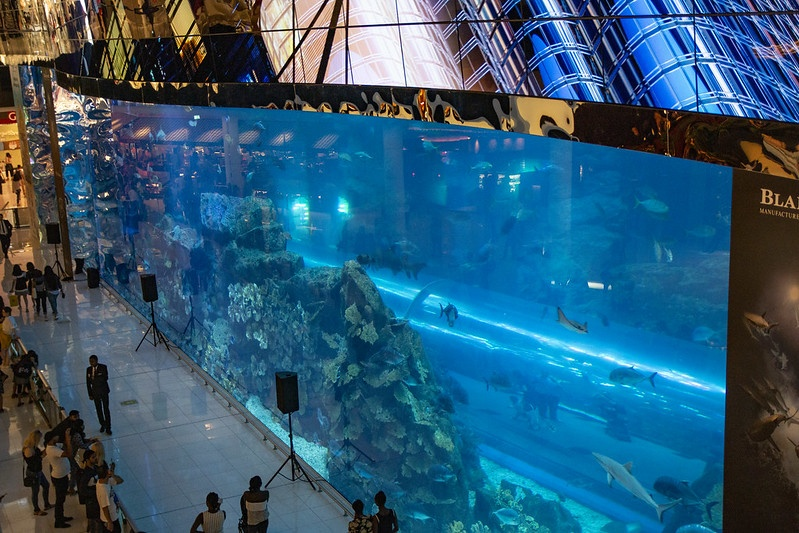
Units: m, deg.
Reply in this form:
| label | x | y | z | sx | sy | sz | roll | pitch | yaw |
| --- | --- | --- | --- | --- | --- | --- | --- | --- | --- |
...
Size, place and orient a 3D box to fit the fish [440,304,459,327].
| label | x | y | z | sx | sy | sz | roll | pitch | yaw |
| --- | --- | --- | --- | --- | --- | --- | --- | --- | --- |
| fish | 1.195 | 1.167 | 14.010 | 0.519 | 0.540 | 0.170 | 7 | 15 | 39 |

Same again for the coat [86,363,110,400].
| label | x | y | z | sx | sy | sz | roll | pitch | yaw |
| --- | --- | --- | --- | --- | --- | --- | --- | --- | --- |
| coat | -6.879 | 2.610 | 13.123 | 0.419 | 0.818 | 0.302 | -6 | 12 | -14 |

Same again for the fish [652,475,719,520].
| label | x | y | z | sx | sy | sz | roll | pitch | yaw |
| --- | --- | --- | --- | --- | --- | --- | --- | --- | --- |
| fish | 5.282 | 4.252 | 10.715 | 0.402 | 0.286 | 0.865 | 24 | 1 | -36 |

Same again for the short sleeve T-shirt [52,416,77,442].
| label | x | y | z | sx | sy | sz | roll | pitch | yaw |
| --- | --- | --- | --- | --- | --- | --- | --- | --- | --- |
| short sleeve T-shirt | -6.460 | 3.091 | 11.055 | 0.325 | 0.445 | 0.120 | -2 | -27 | 41 |

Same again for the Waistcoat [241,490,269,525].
| label | x | y | z | sx | sy | sz | roll | pitch | yaw |
| --- | --- | --- | --- | --- | --- | --- | --- | --- | --- |
| Waistcoat | -2.522 | 4.153 | 10.011 | 0.468 | 0.572 | 0.244 | -4 | 12 | -5 |

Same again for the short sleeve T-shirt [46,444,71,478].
| label | x | y | z | sx | sy | sz | roll | pitch | yaw |
| --- | --- | --- | --- | --- | --- | --- | --- | --- | --- |
| short sleeve T-shirt | -6.361 | 3.566 | 10.728 | 0.306 | 0.489 | 0.511 | 25 | -7 | -31 |

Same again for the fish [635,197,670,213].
| label | x | y | z | sx | sy | sz | roll | pitch | yaw |
| --- | --- | --- | --- | --- | --- | --- | --- | --- | --- |
| fish | 4.791 | -1.179 | 11.048 | 0.160 | 0.292 | 0.665 | 13 | 5 | -43 |

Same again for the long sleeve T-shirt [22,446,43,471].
| label | x | y | z | sx | sy | sz | roll | pitch | yaw |
| --- | --- | --- | --- | --- | --- | --- | --- | --- | --- |
| long sleeve T-shirt | -6.845 | 3.599 | 10.810 | 0.276 | 0.606 | 0.342 | -10 | 14 | -30 |

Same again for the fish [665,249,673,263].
| label | x | y | z | sx | sy | sz | roll | pitch | yaw |
| --- | --- | --- | --- | --- | --- | --- | --- | --- | --- |
| fish | 4.788 | -0.180 | 10.238 | 0.099 | 0.181 | 0.431 | 2 | 13 | 21 |

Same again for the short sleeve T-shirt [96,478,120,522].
| label | x | y | z | sx | sy | sz | roll | pitch | yaw |
| --- | --- | --- | --- | --- | --- | --- | --- | --- | --- |
| short sleeve T-shirt | -4.879 | 3.927 | 9.672 | 0.277 | 0.732 | 0.313 | -9 | 14 | -30 |

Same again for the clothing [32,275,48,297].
| label | x | y | z | sx | sy | sz | roll | pitch | yaw |
| --- | --- | --- | --- | --- | --- | --- | --- | --- | --- |
| clothing | -12.059 | 0.631 | 19.400 | 0.485 | 0.767 | 0.488 | -3 | -23 | -12 |
